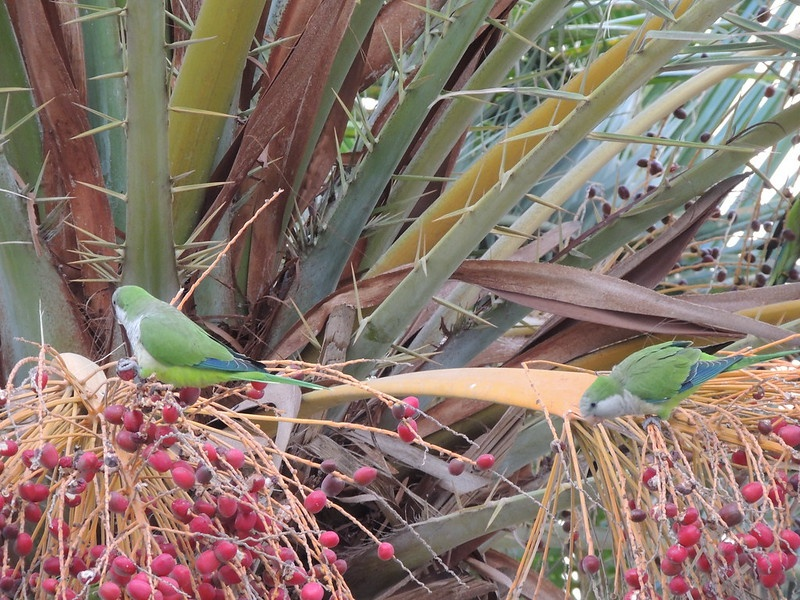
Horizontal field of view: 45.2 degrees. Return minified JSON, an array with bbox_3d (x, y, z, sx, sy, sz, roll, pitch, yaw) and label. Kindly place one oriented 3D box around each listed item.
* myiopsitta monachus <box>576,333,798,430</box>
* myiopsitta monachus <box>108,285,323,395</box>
[{"bbox_3d":[0.683,0.198,2.281,0.333,0.114,0.102,-22,20,-11],"label":"myiopsitta monachus"},{"bbox_3d":[-0.450,0.095,2.249,0.495,0.234,0.136,6,11,-8],"label":"myiopsitta monachus"}]
